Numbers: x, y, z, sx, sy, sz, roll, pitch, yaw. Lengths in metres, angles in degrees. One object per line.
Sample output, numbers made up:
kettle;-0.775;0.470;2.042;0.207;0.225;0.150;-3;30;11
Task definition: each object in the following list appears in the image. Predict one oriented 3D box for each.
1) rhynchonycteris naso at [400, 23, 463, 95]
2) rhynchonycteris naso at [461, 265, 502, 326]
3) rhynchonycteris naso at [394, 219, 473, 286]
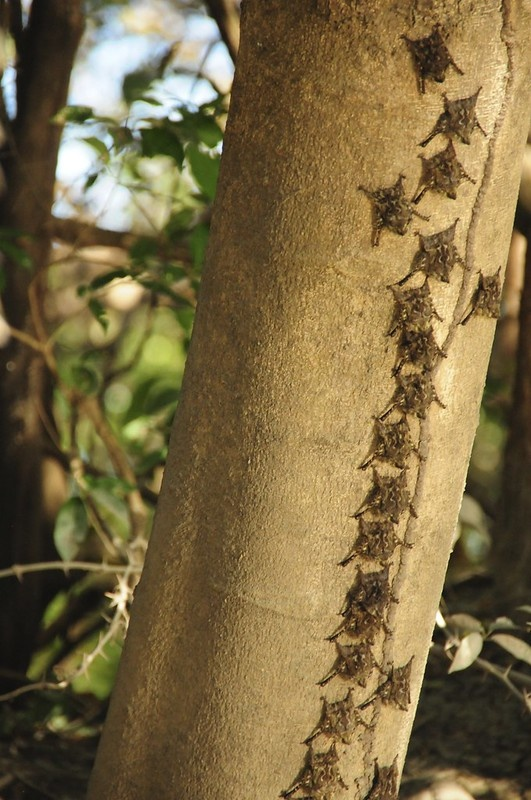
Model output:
rhynchonycteris naso;0.227;-0.468;1.859;0.069;0.090;0.027;-22;19;-3
rhynchonycteris naso;0.312;-0.154;1.955;0.054;0.088;0.019;8;1;-43
rhynchonycteris naso;0.254;-0.191;1.895;0.061;0.025;0.096;55;-16;-8
